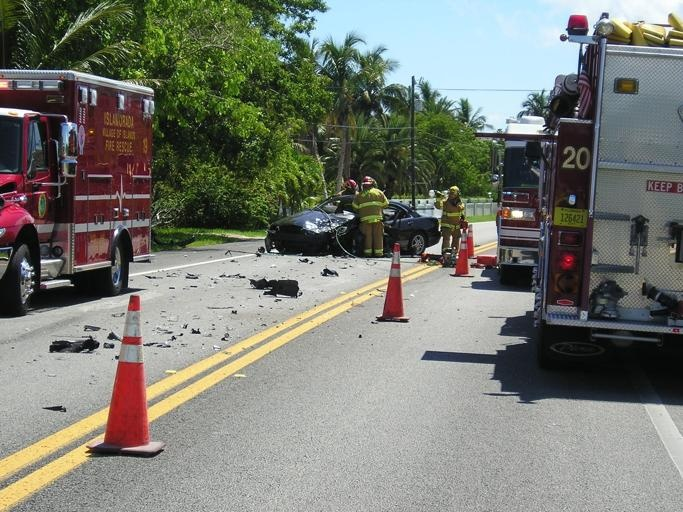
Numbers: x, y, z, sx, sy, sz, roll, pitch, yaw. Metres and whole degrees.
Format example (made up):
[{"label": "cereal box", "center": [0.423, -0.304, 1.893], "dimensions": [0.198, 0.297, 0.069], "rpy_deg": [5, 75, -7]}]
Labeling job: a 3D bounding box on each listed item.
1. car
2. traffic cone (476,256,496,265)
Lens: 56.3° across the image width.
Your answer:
[{"label": "car", "center": [0.571, -0.993, 21.755], "dimensions": [6.464, 2.250, 3.592], "rpy_deg": [-1, 2, -41]}, {"label": "traffic cone", "center": [4.434, 0.131, 19.565], "dimensions": [0.383, 0.217, 0.305], "rpy_deg": [1, -2, 8]}]
